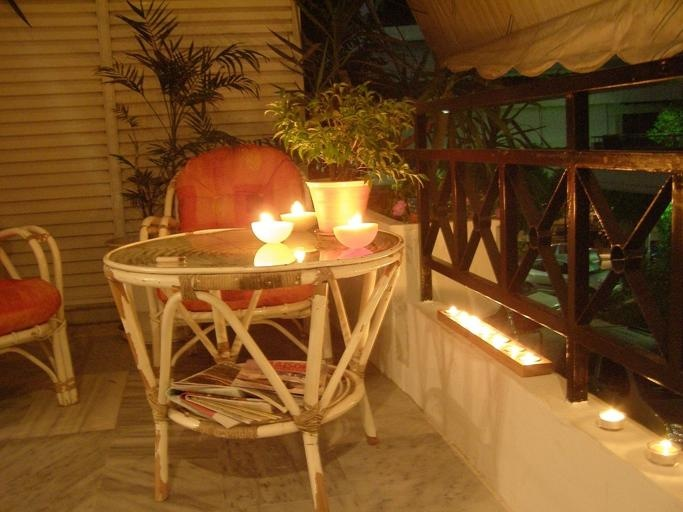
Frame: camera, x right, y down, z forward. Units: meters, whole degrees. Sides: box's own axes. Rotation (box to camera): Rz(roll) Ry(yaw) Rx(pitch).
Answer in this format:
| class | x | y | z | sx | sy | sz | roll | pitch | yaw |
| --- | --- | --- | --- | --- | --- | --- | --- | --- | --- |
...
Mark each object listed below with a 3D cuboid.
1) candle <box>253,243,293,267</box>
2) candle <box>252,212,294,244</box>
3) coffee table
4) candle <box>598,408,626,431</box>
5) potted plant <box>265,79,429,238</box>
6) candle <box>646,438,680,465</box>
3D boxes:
| class | x | y | z | sx | sy | sz | roll | pitch | yaw |
| --- | --- | --- | --- | --- | --- | --- | --- | --- | --- |
| candle | -0.203 | -0.010 | 1.700 | 0.104 | 0.045 | 0.088 | -3 | 3 | 0 |
| candle | -0.235 | -0.098 | 1.907 | 0.142 | 0.068 | 0.125 | -1 | 7 | -23 |
| coffee table | -0.428 | 0.271 | 2.085 | 1.185 | 0.706 | 0.993 | 6 | 16 | 20 |
| candle | 0.706 | 0.417 | 1.454 | 0.058 | 0.020 | 0.058 | 5 | 9 | 43 |
| potted plant | -0.035 | -0.289 | 2.166 | 0.503 | 0.424 | 0.494 | -1 | -1 | -26 |
| candle | 0.753 | 0.450 | 1.306 | 0.064 | 0.029 | 0.055 | -2 | 8 | 10 |
